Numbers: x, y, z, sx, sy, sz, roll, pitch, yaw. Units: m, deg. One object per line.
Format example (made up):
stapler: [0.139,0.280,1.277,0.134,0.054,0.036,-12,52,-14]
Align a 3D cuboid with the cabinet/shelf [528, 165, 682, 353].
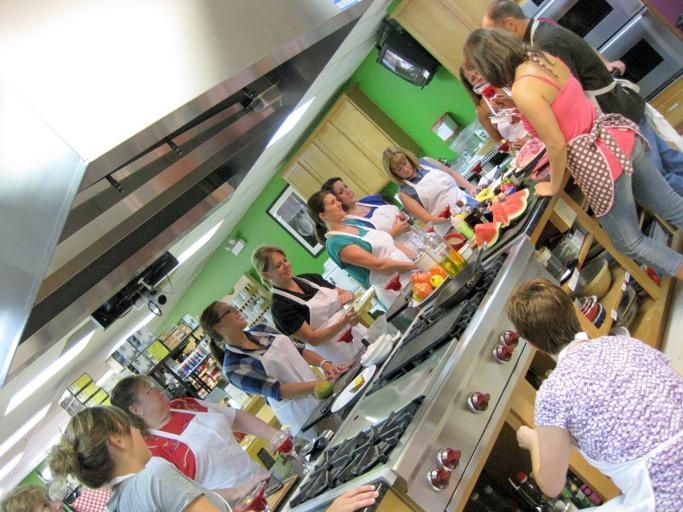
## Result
cabinet/shelf: [1.220,0.019,2.019,0.399,0.769,0.407,-50,9,14]

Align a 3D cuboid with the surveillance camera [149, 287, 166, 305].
surveillance camera: [-1.077,0.238,2.573,0.080,0.115,0.039,-26,42,11]

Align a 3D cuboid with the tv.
tv: [0.737,-2.202,5.036,0.434,0.746,0.650,-53,-5,22]

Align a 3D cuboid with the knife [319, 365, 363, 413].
knife: [-0.007,0.789,2.602,0.215,0.052,0.263,-42,9,49]

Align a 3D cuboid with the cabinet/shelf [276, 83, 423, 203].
cabinet/shelf: [0.127,-1.227,4.684,1.162,1.119,0.573,-47,7,16]

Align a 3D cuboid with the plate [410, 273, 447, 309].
plate: [0.430,0.165,2.259,0.117,0.129,0.143,-42,41,-5]

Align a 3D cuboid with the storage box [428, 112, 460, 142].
storage box: [1.247,-1.575,5.239,0.288,0.289,0.213,-50,-9,6]

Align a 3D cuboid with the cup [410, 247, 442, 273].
cup: [0.446,0.026,2.295,0.112,0.115,0.117,-37,-8,-6]

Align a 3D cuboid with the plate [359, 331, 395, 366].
plate: [0.192,0.468,2.316,0.160,0.062,0.161,-47,-10,24]

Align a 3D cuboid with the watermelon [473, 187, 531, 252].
watermelon: [0.806,-0.192,2.293,0.305,0.131,0.307,-50,-7,-3]

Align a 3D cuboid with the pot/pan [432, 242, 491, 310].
pot/pan: [0.517,0.125,1.950,0.179,0.045,0.288,-55,-5,-28]

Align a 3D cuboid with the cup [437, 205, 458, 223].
cup: [0.781,-0.315,3.205,0.128,0.090,0.132,-15,-29,-8]

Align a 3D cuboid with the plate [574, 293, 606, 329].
plate: [1.223,0.251,2.149,0.150,0.067,0.166,-11,6,3]

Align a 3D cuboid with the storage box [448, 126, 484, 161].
storage box: [1.450,-1.321,5.023,0.478,0.262,0.263,-46,-9,29]

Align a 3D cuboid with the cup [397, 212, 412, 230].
cup: [0.495,-0.283,3.483,0.063,0.103,0.298,-63,11,9]

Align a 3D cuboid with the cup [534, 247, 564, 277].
cup: [0.960,0.031,2.019,0.070,0.114,0.069,-40,14,12]
